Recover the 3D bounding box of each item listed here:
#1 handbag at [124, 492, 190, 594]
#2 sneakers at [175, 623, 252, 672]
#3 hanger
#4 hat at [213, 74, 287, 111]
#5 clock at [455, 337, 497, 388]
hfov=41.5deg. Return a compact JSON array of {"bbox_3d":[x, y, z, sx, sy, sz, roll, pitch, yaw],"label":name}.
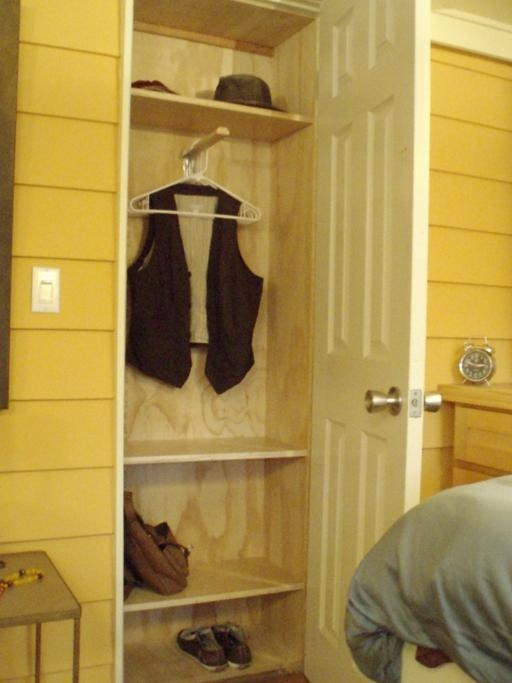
[{"bbox_3d":[-0.301,0.593,2.045,0.191,0.299,0.192,2,2,-5],"label":"handbag"},{"bbox_3d":[-0.134,0.985,2.194,0.194,0.072,0.255,1,3,-27],"label":"sneakers"},{"bbox_3d":[-0.211,-0.502,2.157,0.334,0.230,0.314,-1,1,-29],"label":"hanger"},{"bbox_3d":[-0.032,-0.802,2.141,0.199,0.144,0.143,2,2,-4],"label":"hat"},{"bbox_3d":[0.800,0.068,2.452,0.115,0.183,0.070,0,-12,23],"label":"clock"}]
